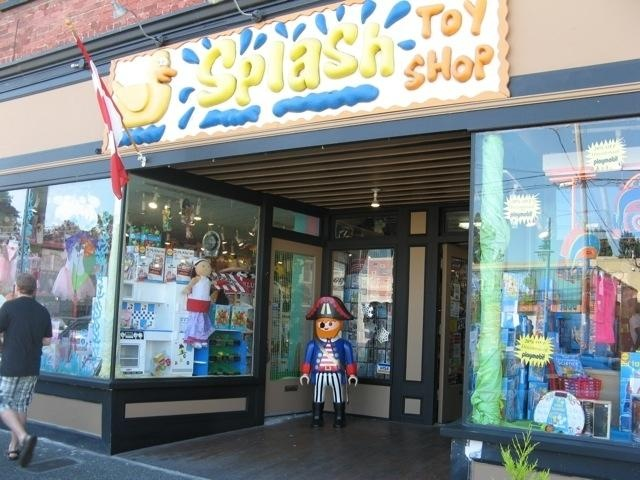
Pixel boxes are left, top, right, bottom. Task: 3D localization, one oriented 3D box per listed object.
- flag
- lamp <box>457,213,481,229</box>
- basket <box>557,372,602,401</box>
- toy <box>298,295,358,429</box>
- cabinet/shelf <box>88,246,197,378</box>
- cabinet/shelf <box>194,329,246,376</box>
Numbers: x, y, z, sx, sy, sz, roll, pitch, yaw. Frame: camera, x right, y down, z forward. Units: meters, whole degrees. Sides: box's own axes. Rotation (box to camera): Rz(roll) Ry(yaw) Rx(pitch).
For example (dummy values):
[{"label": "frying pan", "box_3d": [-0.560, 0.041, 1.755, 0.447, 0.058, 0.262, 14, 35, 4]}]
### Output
[{"label": "flag", "box_3d": [-2.587, -1.458, 6.251, 0.647, 1.967, 1.004, 4, -6, -23]}, {"label": "lamp", "box_3d": [1.760, -0.226, 6.220, 0.271, 0.112, 0.300, 1, 1, 39]}, {"label": "basket", "box_3d": [2.097, 1.187, 4.230, 0.230, 0.165, 0.181, -2, -8, 26]}, {"label": "toy", "box_3d": [0.143, 1.819, 8.034, 0.819, 1.906, 0.755, 1, -6, 3]}, {"label": "cabinet/shelf", "box_3d": [-2.098, 0.869, 6.620, 1.000, 1.634, 0.472, 5, -4, -34]}, {"label": "cabinet/shelf", "box_3d": [-1.403, 1.545, 7.157, 0.623, 0.573, 0.339, 9, -17, -43]}]
